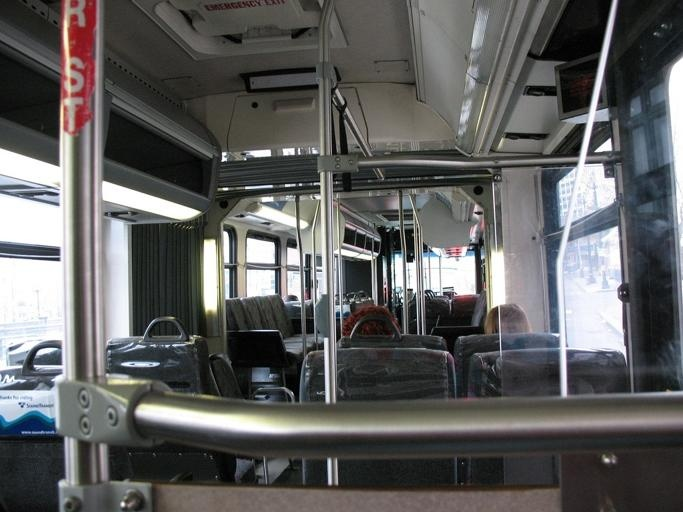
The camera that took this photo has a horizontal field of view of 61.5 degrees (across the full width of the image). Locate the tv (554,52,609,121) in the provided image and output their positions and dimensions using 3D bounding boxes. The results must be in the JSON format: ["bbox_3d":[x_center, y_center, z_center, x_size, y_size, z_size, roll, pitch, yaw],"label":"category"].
[{"bbox_3d":[0.899,-0.635,2.186,0.159,0.233,0.081,-4,-7,38],"label":"tv"}]

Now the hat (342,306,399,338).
[{"bbox_3d":[0.155,0.347,3.031,0.214,0.090,0.261,-3,3,5],"label":"hat"}]
